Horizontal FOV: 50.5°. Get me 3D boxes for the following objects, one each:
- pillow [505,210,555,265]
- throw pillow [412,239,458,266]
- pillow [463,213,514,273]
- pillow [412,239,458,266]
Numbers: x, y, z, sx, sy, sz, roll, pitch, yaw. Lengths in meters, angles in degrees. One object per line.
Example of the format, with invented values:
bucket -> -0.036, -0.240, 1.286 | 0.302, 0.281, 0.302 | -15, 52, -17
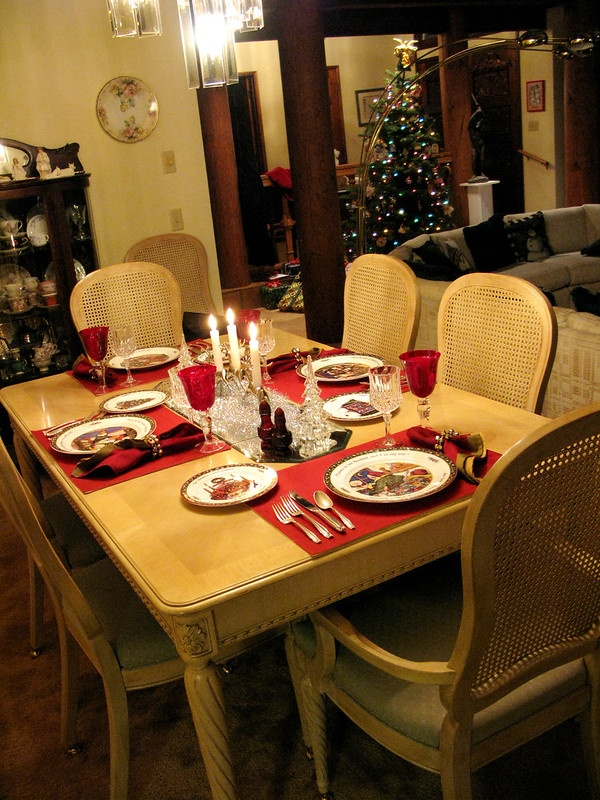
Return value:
pillow -> 2.005, -1.428, 5.687 | 0.471, 0.450, 0.139 | -7, -10, -21
throw pillow -> 0.961, -1.062, 4.608 | 0.267, 0.081, 0.273 | -23, 46, -36
pillow -> 1.585, -1.318, 5.402 | 0.265, 0.448, 0.627 | 8, 25, 40
pillow -> 0.961, -1.062, 4.608 | 0.267, 0.081, 0.273 | -23, 46, -36
